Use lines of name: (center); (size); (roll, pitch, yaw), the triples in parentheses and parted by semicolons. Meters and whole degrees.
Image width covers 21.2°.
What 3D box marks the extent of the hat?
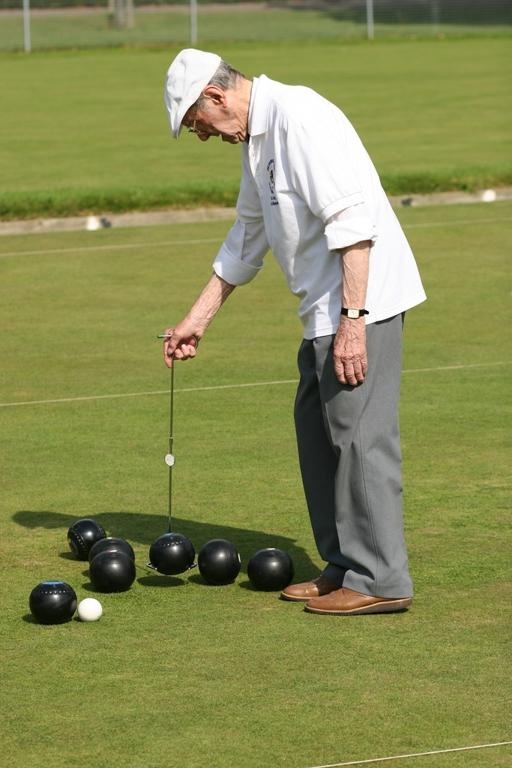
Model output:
hat: (-0.213, -0.888, 4.155); (0.134, 0.239, 0.175); (21, 12, -10)

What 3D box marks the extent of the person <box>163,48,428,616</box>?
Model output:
person: (0.157, -0.182, 4.381); (0.805, 1.753, 0.628); (6, 14, 34)

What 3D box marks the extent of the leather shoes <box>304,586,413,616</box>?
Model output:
leather shoes: (0.321, 0.673, 4.273); (0.319, 0.125, 0.116); (3, -7, -1)

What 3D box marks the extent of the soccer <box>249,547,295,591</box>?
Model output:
soccer: (0.049, 0.594, 4.527); (0.130, 0.130, 0.136); (11, 4, 36)

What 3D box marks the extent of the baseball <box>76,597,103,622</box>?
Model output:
baseball: (-0.505, 0.683, 4.175); (0.070, 0.057, 0.072); (10, -7, -41)

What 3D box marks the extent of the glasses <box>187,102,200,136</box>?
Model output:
glasses: (-0.192, -0.820, 4.169); (0.041, 0.074, 0.054); (-1, 7, 7)

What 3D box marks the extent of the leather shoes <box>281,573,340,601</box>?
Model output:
leather shoes: (0.179, 0.662, 4.432); (0.213, 0.084, 0.078); (-10, 6, -5)

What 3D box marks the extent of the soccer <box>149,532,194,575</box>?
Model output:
soccer: (-0.285, 0.575, 4.652); (0.118, 0.115, 0.143); (-5, -3, 6)
